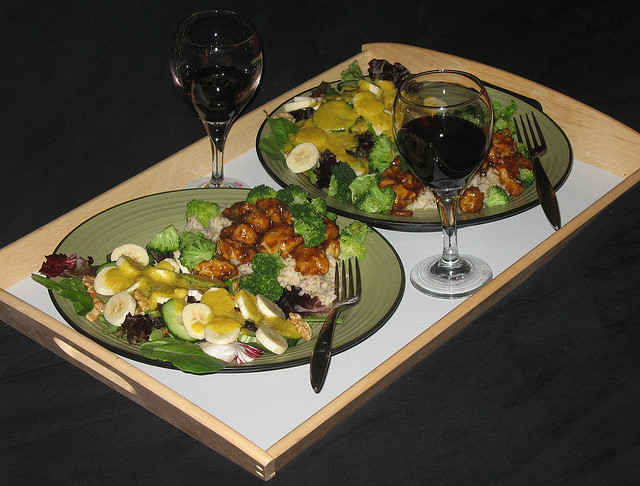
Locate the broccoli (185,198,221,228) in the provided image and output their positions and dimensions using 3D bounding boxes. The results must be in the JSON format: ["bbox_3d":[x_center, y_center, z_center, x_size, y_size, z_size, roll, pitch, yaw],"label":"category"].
[{"bbox_3d":[-0.414,-0.113,1.868,0.095,0.046,0.098,13,37,14],"label":"broccoli"}]

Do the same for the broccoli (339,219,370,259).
[{"bbox_3d":[0.095,-0.015,1.754,0.169,0.122,0.043,-29,76,-6],"label":"broccoli"}]

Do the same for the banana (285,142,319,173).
[{"bbox_3d":[-0.078,-0.359,2.084,0.150,0.136,0.034,-1,44,-43],"label":"banana"}]

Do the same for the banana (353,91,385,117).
[{"bbox_3d":[0.213,-0.614,2.275,0.119,0.056,0.129,10,42,-11],"label":"banana"}]

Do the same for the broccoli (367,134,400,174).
[{"bbox_3d":[0.251,-0.358,2.109,0.123,0.047,0.145,8,85,-5],"label":"broccoli"}]

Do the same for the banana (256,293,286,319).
[{"bbox_3d":[-0.154,0.189,1.558,0.019,0.076,0.077,-48,61,10],"label":"banana"}]

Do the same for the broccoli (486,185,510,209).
[{"bbox_3d":[0.655,-0.165,1.910,0.081,0.042,0.077,-37,63,-12],"label":"broccoli"}]

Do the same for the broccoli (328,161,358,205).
[{"bbox_3d":[0.079,-0.230,1.996,0.074,0.139,0.116,-10,88,-33],"label":"broccoli"}]

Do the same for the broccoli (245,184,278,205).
[{"bbox_3d":[-0.222,-0.180,1.866,0.073,0.031,0.088,1,37,18],"label":"broccoli"}]

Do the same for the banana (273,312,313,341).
[{"bbox_3d":[-0.078,0.243,1.512,0.072,0.020,0.074,39,23,31],"label":"banana"}]

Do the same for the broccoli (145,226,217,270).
[{"bbox_3d":[-0.475,0.001,1.732,0.192,0.067,0.143,28,37,29],"label":"broccoli"}]

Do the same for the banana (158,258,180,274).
[{"bbox_3d":[-0.496,0.070,1.678,0.054,0.049,0.030,29,65,16],"label":"banana"}]

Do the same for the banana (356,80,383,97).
[{"bbox_3d":[0.233,-0.732,2.424,0.125,0.034,0.065,35,60,22],"label":"banana"}]

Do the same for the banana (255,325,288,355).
[{"bbox_3d":[-0.134,0.269,1.438,0.021,0.077,0.077,-53,50,10],"label":"banana"}]

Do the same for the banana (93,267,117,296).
[{"bbox_3d":[-0.684,0.122,1.609,0.065,0.019,0.079,0,54,-1],"label":"banana"}]

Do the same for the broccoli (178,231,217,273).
[{"bbox_3d":[-0.407,0.015,1.720,0.122,0.047,0.126,-15,81,-29],"label":"broccoli"}]

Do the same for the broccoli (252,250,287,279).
[{"bbox_3d":[-0.161,0.062,1.597,0.080,0.036,0.078,-16,37,-40],"label":"broccoli"}]

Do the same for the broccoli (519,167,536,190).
[{"bbox_3d":[0.805,-0.254,2.002,0.075,0.033,0.068,-7,84,-11],"label":"broccoli"}]

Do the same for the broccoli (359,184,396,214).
[{"bbox_3d":[0.240,-0.180,1.925,0.140,0.175,0.055,-27,84,-1],"label":"broccoli"}]

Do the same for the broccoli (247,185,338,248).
[{"bbox_3d":[-0.090,-0.096,1.808,0.087,0.243,0.242,-58,46,16],"label":"broccoli"}]

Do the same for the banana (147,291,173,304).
[{"bbox_3d":[-0.489,0.161,1.552,0.042,0.014,0.043,6,31,-5],"label":"banana"}]

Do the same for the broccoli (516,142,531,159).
[{"bbox_3d":[0.848,-0.387,2.147,0.032,0.025,0.103,-37,50,17],"label":"broccoli"}]

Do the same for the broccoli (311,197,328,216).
[{"bbox_3d":[-0.002,-0.130,1.810,0.025,0.053,0.053,-39,42,22],"label":"broccoli"}]

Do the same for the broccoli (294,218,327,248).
[{"bbox_3d":[-0.033,-0.033,1.711,0.105,0.074,0.069,-13,52,-6],"label":"broccoli"}]

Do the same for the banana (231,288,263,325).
[{"bbox_3d":[-0.238,0.198,1.545,0.109,0.029,0.117,12,67,51],"label":"banana"}]

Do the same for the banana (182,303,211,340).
[{"bbox_3d":[-0.365,0.222,1.491,0.082,0.049,0.095,5,53,8],"label":"banana"}]

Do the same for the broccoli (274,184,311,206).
[{"bbox_3d":[-0.108,-0.184,1.835,0.080,0.047,0.083,10,20,29],"label":"broccoli"}]

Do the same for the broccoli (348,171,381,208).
[{"bbox_3d":[0.167,-0.204,1.979,0.117,0.037,0.117,-8,86,0],"label":"broccoli"}]

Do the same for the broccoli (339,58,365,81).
[{"bbox_3d":[0.154,-0.896,2.691,0.159,0.047,0.112,-26,79,-42],"label":"broccoli"}]

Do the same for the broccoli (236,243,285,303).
[{"bbox_3d":[-0.172,0.088,1.548,0.126,0.061,0.153,7,80,-12],"label":"broccoli"}]
